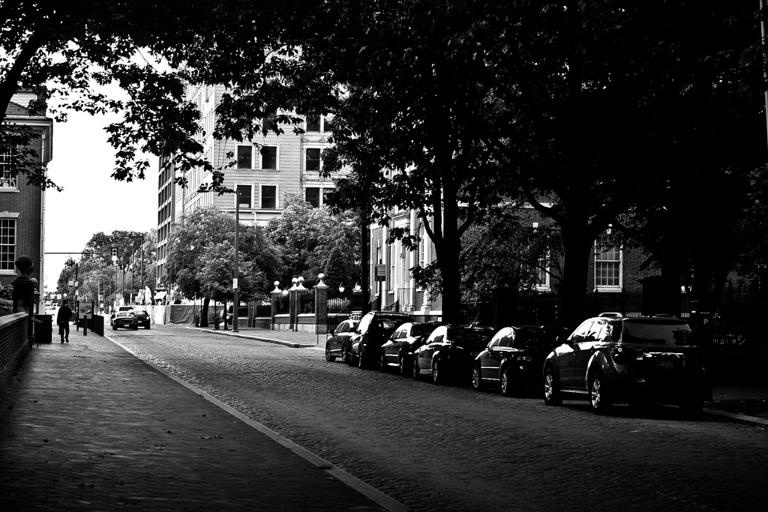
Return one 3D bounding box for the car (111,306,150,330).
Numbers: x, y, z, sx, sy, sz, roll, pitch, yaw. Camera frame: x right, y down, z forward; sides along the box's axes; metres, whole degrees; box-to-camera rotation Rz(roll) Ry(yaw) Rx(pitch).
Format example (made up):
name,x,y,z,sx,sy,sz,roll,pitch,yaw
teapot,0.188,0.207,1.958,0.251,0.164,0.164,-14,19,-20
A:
name,x,y,z,sx,sy,sz,roll,pitch,yaw
car,-20.656,5.146,74.090,2.376,1.689,4.037,3,-8,-4
